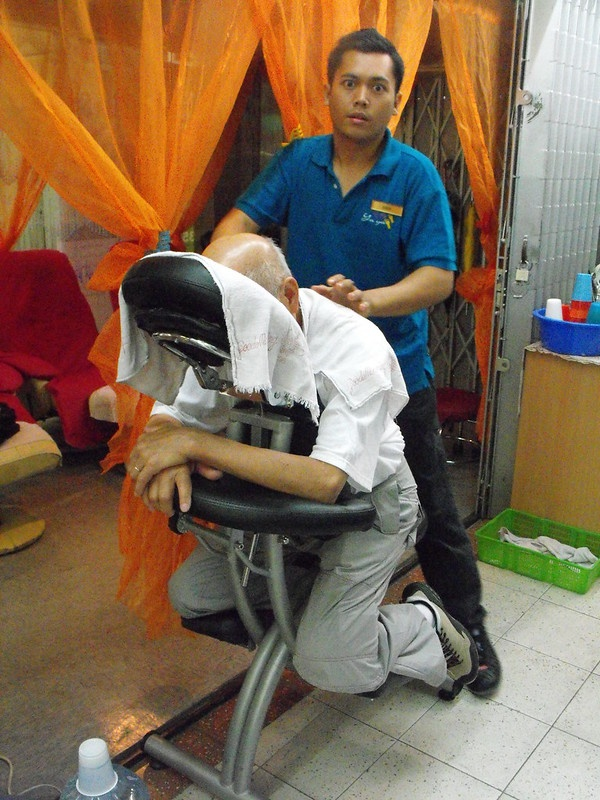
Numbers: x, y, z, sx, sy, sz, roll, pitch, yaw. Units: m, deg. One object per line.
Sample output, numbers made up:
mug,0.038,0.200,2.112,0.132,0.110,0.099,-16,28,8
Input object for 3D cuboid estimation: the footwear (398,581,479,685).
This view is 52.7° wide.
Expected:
footwear,0.367,0.624,1.612,0.108,0.298,0.128,-39,-15,14

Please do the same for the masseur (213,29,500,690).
masseur,0.134,-0.075,1.753,0.910,1.740,0.709,-2,18,-6
